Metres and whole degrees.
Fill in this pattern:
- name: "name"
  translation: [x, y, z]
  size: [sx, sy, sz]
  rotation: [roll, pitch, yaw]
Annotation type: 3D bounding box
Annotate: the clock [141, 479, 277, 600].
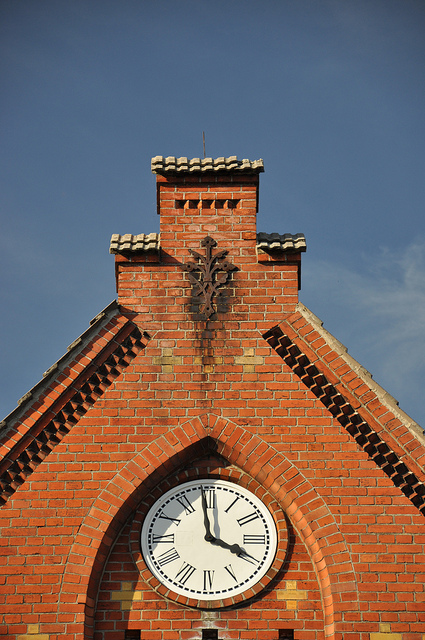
- name: "clock"
  translation: [-0.023, 2.486, 18.128]
  size: [1.502, 1.626, 0.165]
  rotation: [1, 29, -2]
